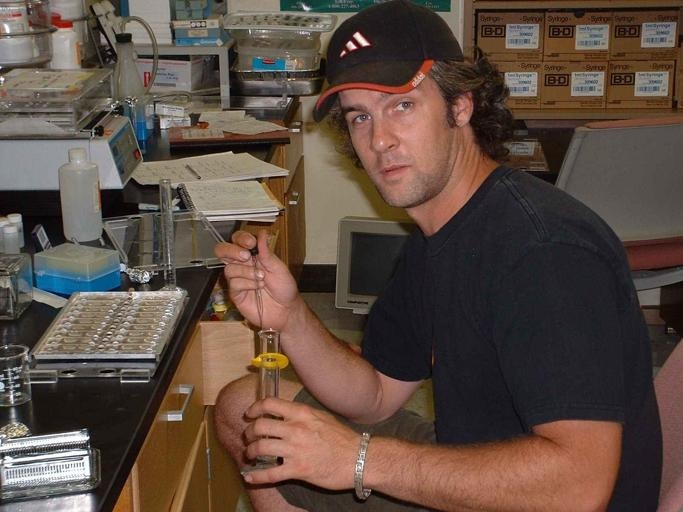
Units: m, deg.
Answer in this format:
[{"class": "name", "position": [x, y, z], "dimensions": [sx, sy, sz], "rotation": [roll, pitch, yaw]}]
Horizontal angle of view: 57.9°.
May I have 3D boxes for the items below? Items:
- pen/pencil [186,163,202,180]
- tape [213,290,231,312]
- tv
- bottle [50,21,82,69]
[{"class": "pen/pencil", "position": [-0.520, -0.296, 2.182], "dimensions": [0.022, 0.022, 0.110], "rotation": [-37, 41, -5]}, {"class": "tape", "position": [-0.374, 0.141, 1.960], "dimensions": [0.057, 0.040, 0.056], "rotation": [4, 38, 10]}, {"class": "tv", "position": [0.148, 0.026, 2.832], "dimensions": [0.465, 0.437, 0.238], "rotation": [8, 28, 9]}, {"class": "bottle", "position": [-1.104, -0.823, 2.460], "dimensions": [0.123, 0.147, 0.072], "rotation": [-11, 17, -21]}]
